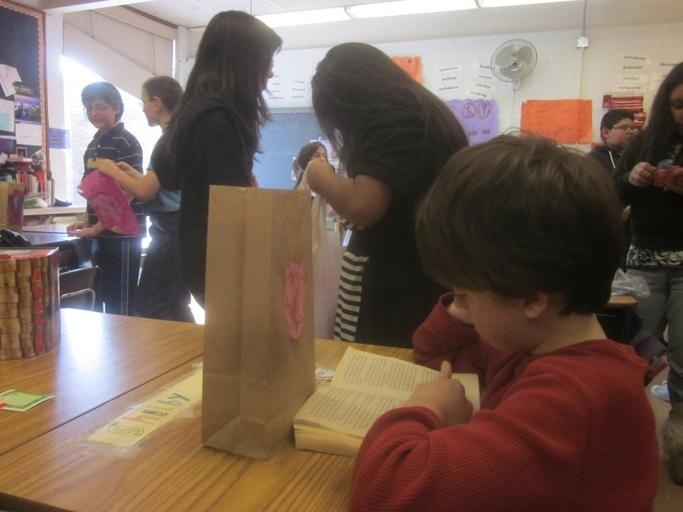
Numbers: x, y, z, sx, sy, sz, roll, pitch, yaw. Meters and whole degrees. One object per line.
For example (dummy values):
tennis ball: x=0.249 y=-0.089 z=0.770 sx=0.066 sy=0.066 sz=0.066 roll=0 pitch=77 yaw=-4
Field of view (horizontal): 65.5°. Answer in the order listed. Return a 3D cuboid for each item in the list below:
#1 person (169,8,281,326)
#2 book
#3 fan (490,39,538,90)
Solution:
person: x=-0.424 y=-0.286 z=1.939 sx=0.332 sy=1.089 sz=0.333 roll=18 pitch=29 yaw=18
book: x=0.085 y=0.288 z=1.091 sx=0.268 sy=0.058 sz=0.272 roll=-2 pitch=24 yaw=21
fan: x=1.601 y=-1.798 z=4.942 sx=0.398 sy=0.415 sz=0.164 roll=5 pitch=9 yaw=17
